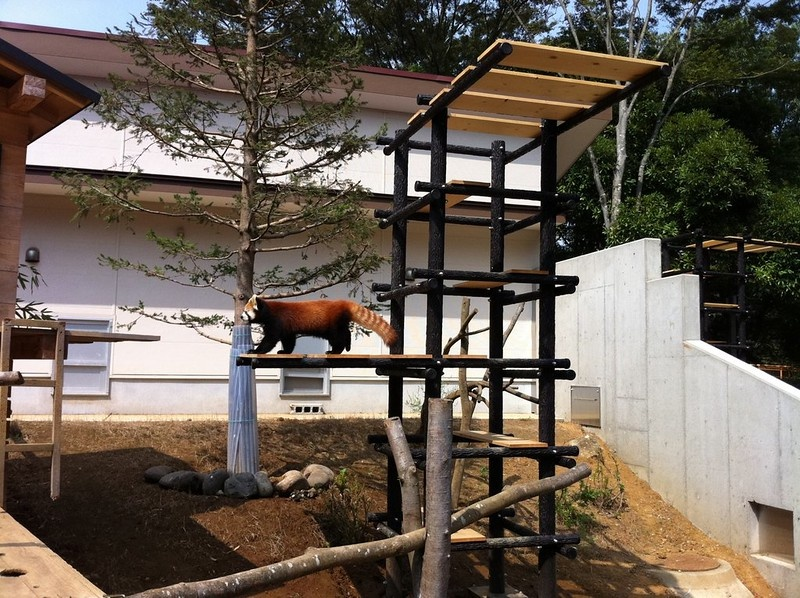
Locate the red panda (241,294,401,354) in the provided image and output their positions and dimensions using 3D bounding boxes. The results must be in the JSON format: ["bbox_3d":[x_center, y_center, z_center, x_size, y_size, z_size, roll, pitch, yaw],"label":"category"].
[{"bbox_3d":[-1.255,0.412,12.292,2.240,0.879,0.555,-1,-4,-7],"label":"red panda"}]
